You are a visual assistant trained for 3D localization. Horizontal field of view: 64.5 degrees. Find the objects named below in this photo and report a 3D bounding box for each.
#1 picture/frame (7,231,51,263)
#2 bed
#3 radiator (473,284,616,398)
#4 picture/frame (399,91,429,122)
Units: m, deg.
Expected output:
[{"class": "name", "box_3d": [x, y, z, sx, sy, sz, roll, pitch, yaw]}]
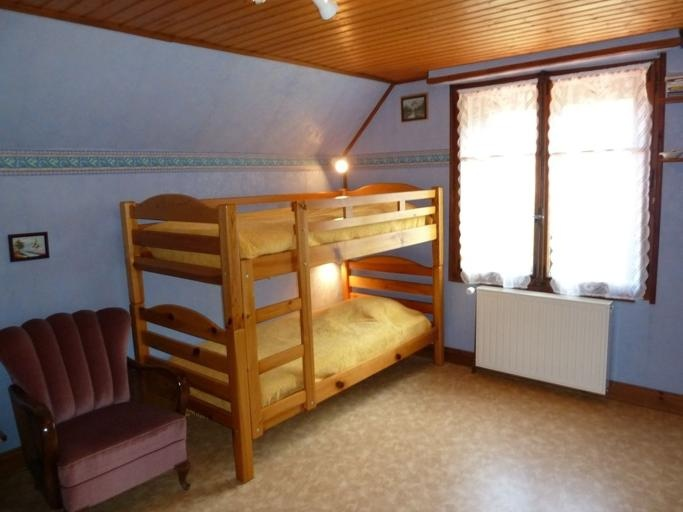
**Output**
[{"class": "picture/frame", "box_3d": [-2.481, -0.067, 4.258, 0.242, 0.208, 0.027, -5, 5, -40]}, {"class": "bed", "box_3d": [-0.385, 0.369, 5.456, 1.722, 1.893, 3.004, 4, 10, 37]}, {"class": "radiator", "box_3d": [1.948, 0.797, 5.325, 1.257, 0.880, 0.179, 4, 10, 38]}, {"class": "picture/frame", "box_3d": [0.817, -1.638, 5.944, 0.367, 0.306, 0.030, 2, 7, 34]}]
